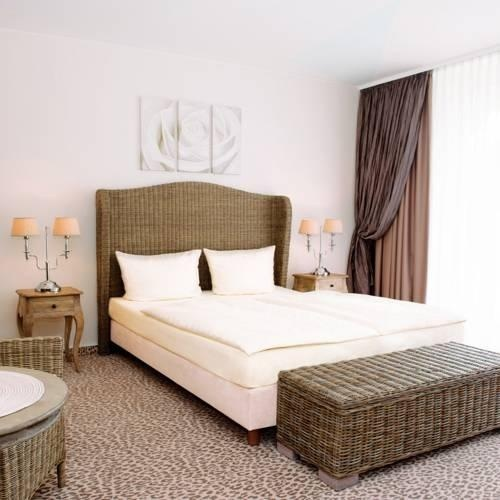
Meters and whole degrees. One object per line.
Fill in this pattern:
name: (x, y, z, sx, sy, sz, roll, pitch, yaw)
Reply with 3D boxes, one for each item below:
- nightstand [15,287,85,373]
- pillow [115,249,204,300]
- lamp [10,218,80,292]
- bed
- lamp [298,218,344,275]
nightstand: (-1.658, 0.671, 3.670, 0.556, 0.645, 0.595, 1, 1, 26)
pillow: (-0.818, 0.227, 4.038, 0.771, 0.438, 0.318, 0, 2, -17)
lamp: (-1.802, 0.035, 3.849, 0.675, 0.750, 0.253, -1, 1, -21)
bed: (-0.022, 0.279, 3.586, 1.923, 1.537, 2.362, -3, 5, -32)
lamp: (0.837, -0.047, 5.410, 0.719, 0.839, 0.269, -1, 2, -23)
